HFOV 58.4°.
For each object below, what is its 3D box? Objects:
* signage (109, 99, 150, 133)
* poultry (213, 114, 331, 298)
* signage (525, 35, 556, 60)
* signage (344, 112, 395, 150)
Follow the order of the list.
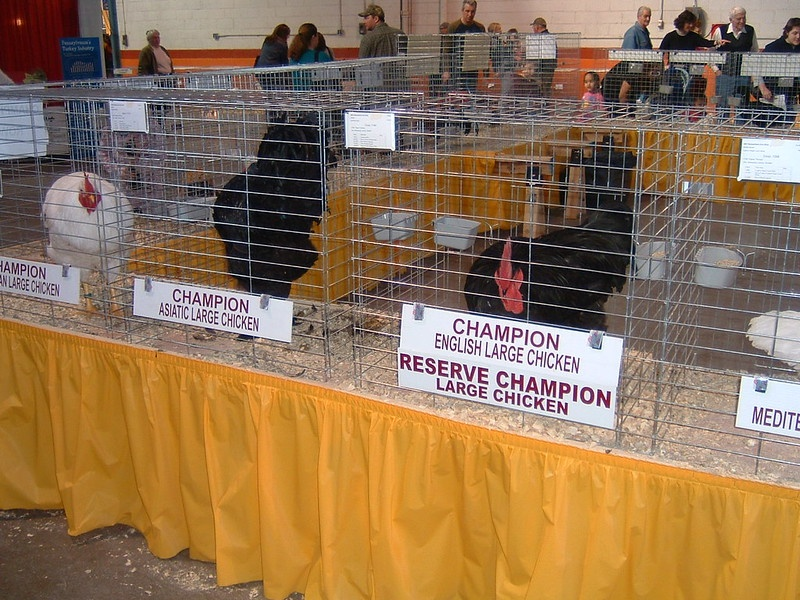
[{"bbox_3d":[-1.030,-0.701,2.723,0.134,0.096,0.018,6,12,22],"label":"signage"},{"bbox_3d":[-0.464,-0.333,2.711,0.570,0.697,0.280,9,17,24],"label":"poultry"},{"bbox_3d":[1.320,-2.403,6.818,0.207,0.149,0.115,-12,29,-24],"label":"signage"},{"bbox_3d":[-0.101,-0.556,2.397,0.189,0.136,0.128,4,8,25],"label":"signage"}]
